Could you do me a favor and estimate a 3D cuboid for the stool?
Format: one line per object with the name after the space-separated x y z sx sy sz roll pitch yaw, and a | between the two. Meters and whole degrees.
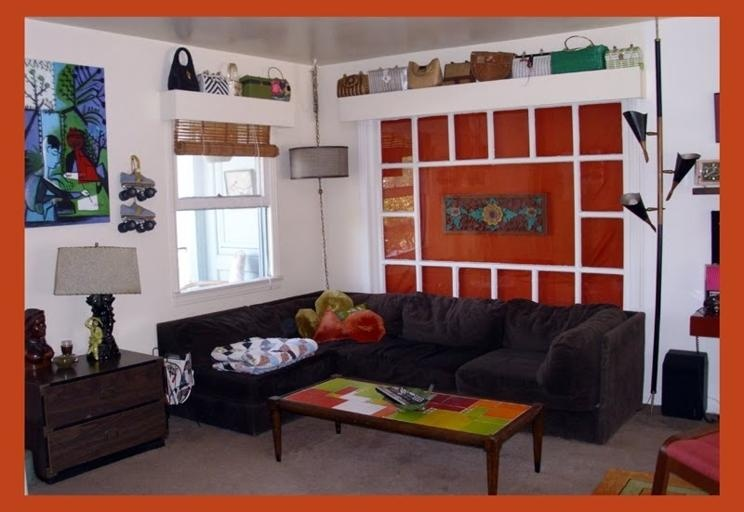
1.660 1.112 3.011 0.292 0.332 0.425 3 10 28 | stool

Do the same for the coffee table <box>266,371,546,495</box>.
0.225 1.141 3.718 1.598 0.475 0.734 3 10 29 | coffee table

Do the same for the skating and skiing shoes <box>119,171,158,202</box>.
-1.895 -0.557 4.549 0.235 0.160 0.242 -3 3 -21 | skating and skiing shoes

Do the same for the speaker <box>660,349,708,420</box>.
2.401 0.973 4.412 0.307 0.481 0.282 2 11 33 | speaker

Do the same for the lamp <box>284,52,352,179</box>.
-0.528 -1.328 5.572 0.609 1.157 0.612 3 11 30 | lamp

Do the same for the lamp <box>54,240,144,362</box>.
-1.963 0.325 4.084 0.534 0.813 0.261 -7 11 -27 | lamp

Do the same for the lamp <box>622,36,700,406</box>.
2.219 -0.260 4.441 0.527 2.919 0.494 2 11 25 | lamp

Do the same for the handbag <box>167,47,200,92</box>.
-1.582 -1.560 4.735 0.279 0.390 0.224 -9 12 -38 | handbag

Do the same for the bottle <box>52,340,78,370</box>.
-2.144 0.679 3.935 0.174 0.182 0.191 -2 -3 29 | bottle

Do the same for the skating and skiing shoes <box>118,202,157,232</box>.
-1.894 -0.301 4.564 0.250 0.187 0.258 -3 3 -24 | skating and skiing shoes

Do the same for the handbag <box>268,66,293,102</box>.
-0.892 -1.666 5.462 0.216 0.355 0.383 -3 9 -8 | handbag

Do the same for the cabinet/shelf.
-1.830 1.051 3.929 0.638 0.777 1.190 0 3 41 | cabinet/shelf

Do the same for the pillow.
-0.326 0.584 5.268 0.539 0.199 0.521 -2 13 -15 | pillow

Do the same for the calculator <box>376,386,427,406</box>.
0.190 0.901 3.667 0.191 0.034 0.117 8 12 42 | calculator

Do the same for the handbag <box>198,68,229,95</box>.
-1.345 -1.487 4.895 0.291 0.199 0.137 -9 12 -39 | handbag
